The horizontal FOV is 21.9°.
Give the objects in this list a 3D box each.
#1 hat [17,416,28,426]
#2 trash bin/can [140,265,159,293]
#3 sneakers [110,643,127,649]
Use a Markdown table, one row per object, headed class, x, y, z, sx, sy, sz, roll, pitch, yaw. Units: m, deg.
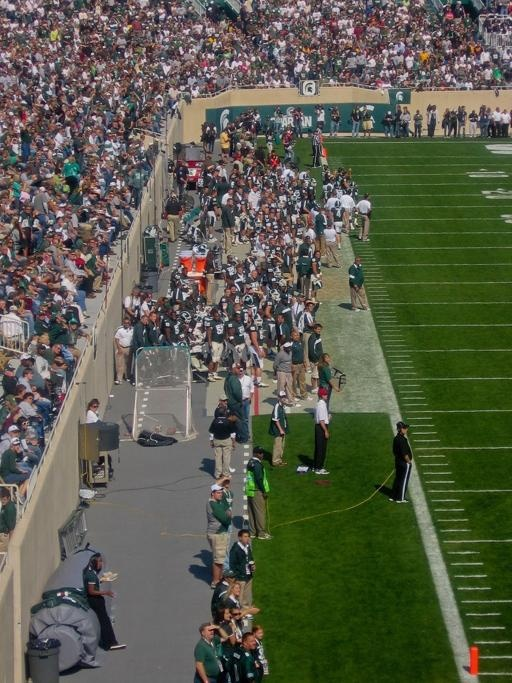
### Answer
| class | x | y | z | sx | sy | sz | roll | pitch | yaw |
| --- | --- | --- | --- | --- | --- | --- | --- | --- | --- |
| hat | -3.339 | 1.165 | 18.983 | 0.136 | 0.135 | 0.098 | 27 | 2 | -26 |
| trash bin/can | -2.514 | -1.407 | 31.208 | 0.499 | 0.525 | 0.500 | 2 | 13 | 6 |
| sneakers | -1.694 | 3.764 | 16.349 | 0.179 | 0.074 | 0.123 | -23 | -33 | 27 |
